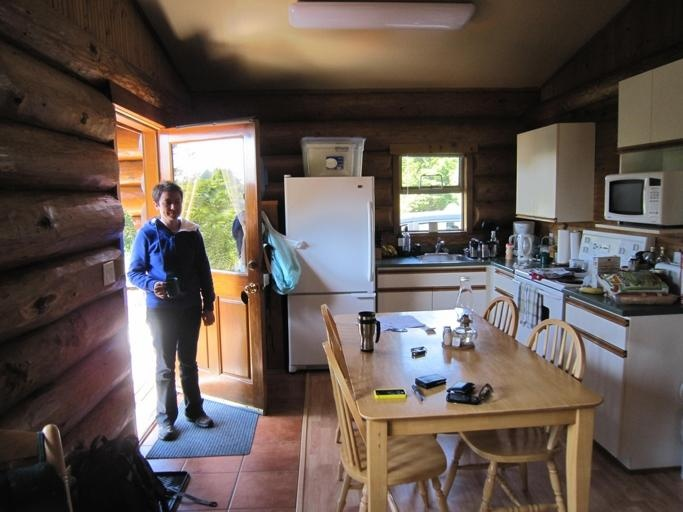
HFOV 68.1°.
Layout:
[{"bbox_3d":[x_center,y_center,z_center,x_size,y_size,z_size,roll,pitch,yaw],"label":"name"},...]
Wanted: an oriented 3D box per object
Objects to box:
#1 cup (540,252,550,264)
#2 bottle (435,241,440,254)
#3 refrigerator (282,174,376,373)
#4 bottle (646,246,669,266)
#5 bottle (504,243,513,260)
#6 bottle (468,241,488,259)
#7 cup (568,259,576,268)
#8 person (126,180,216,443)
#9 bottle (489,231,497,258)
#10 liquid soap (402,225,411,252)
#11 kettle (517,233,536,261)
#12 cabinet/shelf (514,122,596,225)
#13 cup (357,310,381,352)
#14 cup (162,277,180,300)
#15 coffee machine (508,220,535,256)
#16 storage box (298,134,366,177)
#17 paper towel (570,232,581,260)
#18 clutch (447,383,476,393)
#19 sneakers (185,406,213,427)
[{"bbox_3d":[1.999,0.030,4.962,0.084,0.111,0.109,3,6,14],"label":"cup"},{"bbox_3d":[1.103,-0.092,5.744,0.068,0.133,0.087,1,13,11],"label":"bottle"},{"bbox_3d":[-0.093,0.116,5.392,1.081,2.023,1.246,-6,17,-13],"label":"refrigerator"},{"bbox_3d":[2.388,0.000,3.805,0.146,0.079,0.211,1,20,17],"label":"bottle"},{"bbox_3d":[1.797,-0.042,5.384,0.067,0.145,0.188,4,13,22],"label":"bottle"},{"bbox_3d":[1.512,-0.058,5.569,0.190,0.183,0.192,-1,6,0],"label":"bottle"},{"bbox_3d":[2.059,0.070,4.481,0.078,0.081,0.078,0,-2,0],"label":"cup"},{"bbox_3d":[-1.288,0.414,3.869,0.453,1.930,0.522,3,13,19],"label":"person"},{"bbox_3d":[1.709,-0.131,5.644,0.098,0.260,0.409,3,13,18],"label":"bottle"},{"bbox_3d":[0.744,-0.185,5.765,0.108,0.295,0.170,1,12,8],"label":"liquid soap"},{"bbox_3d":[1.886,-0.090,5.184,0.152,0.247,0.231,2,13,14],"label":"kettle"},{"bbox_3d":[2.044,-0.767,4.767,0.536,1.071,1.058,0,2,-6],"label":"cabinet/shelf"},{"bbox_3d":[0.164,0.467,3.132,0.158,0.225,0.111,3,8,19],"label":"cup"},{"bbox_3d":[-1.191,0.218,3.600,0.145,0.139,0.092,1,10,7],"label":"cup"},{"bbox_3d":[1.887,-0.150,5.286,0.310,0.316,0.179,3,-2,41],"label":"coffee machine"},{"bbox_3d":[-0.089,-0.964,4.949,0.647,0.470,0.384,0,9,1],"label":"storage box"},{"bbox_3d":[2.160,-0.091,4.668,0.081,0.268,0.159,2,13,17],"label":"paper towel"},{"bbox_3d":[0.621,0.684,2.605,0.143,0.030,0.123,1,13,12],"label":"clutch"},{"bbox_3d":[-1.152,1.278,4.102,0.293,0.129,0.106,6,7,30],"label":"sneakers"}]
